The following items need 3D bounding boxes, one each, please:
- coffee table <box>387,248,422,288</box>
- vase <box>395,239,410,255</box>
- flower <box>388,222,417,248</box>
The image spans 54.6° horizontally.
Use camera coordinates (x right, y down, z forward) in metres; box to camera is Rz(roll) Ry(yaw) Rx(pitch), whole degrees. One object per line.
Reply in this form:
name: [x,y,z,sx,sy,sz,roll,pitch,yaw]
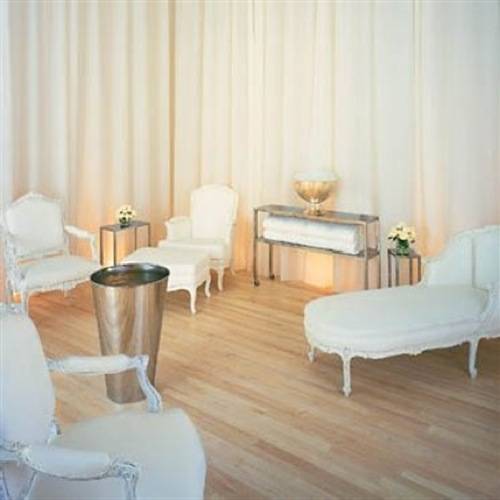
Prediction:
coffee table: [1.252,0.142,3.925,0.255,0.393,0.210,-4,15,-13]
vase: [1.175,-0.032,3.771,0.108,0.144,0.100,4,14,20]
flower: [1.188,-0.115,3.805,0.206,0.200,0.216,5,10,16]
